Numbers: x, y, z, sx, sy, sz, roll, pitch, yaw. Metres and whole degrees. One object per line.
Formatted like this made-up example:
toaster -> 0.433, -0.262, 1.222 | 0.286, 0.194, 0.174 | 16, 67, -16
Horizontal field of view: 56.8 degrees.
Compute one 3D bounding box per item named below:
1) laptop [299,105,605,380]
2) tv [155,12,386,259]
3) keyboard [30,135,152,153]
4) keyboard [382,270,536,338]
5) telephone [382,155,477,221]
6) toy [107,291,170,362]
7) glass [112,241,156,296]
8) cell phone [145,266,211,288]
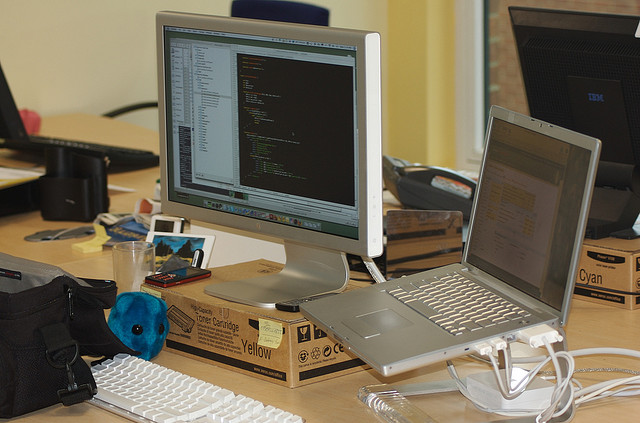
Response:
laptop -> 0.249, 0.037, 1.215 | 0.508, 0.455, 0.343 | -6, 18, -16
tv -> -0.129, -0.179, 1.455 | 0.793, 0.490, 0.082 | 9, 19, 30
keyboard -> -1.069, -0.312, 2.838 | 0.302, 0.094, 0.379 | 11, 19, 36
keyboard -> 0.296, 0.196, 1.262 | 0.133, 0.013, 0.193 | -15, 17, -20
telephone -> 0.350, -0.085, 1.967 | 0.288, 0.093, 0.264 | 7, 12, 13
toy -> -0.461, 0.291, 1.475 | 0.162, 0.175, 0.147 | 11, -10, -38
glass -> -0.543, 0.164, 1.733 | 0.127, 0.167, 0.117 | -4, -9, 6
cell phone -> -0.370, 0.161, 1.547 | 0.063, 0.013, 0.111 | 7, 12, 41
